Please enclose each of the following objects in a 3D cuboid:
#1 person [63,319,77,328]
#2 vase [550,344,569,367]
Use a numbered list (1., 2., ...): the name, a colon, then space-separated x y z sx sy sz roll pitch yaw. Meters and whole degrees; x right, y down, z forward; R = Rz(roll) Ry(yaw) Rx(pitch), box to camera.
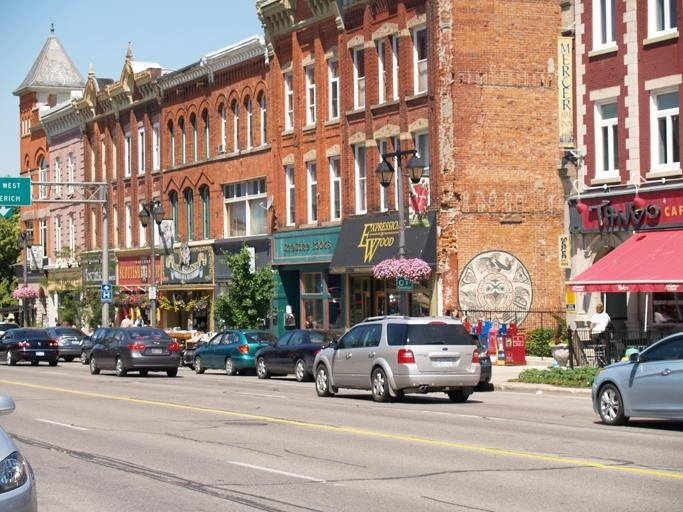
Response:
1. person: -16.921 4.104 65.471 0.683 0.639 0.522 0 18 10
2. vase: 7.244 3.236 34.641 0.619 0.736 0.692 0 -4 -5
